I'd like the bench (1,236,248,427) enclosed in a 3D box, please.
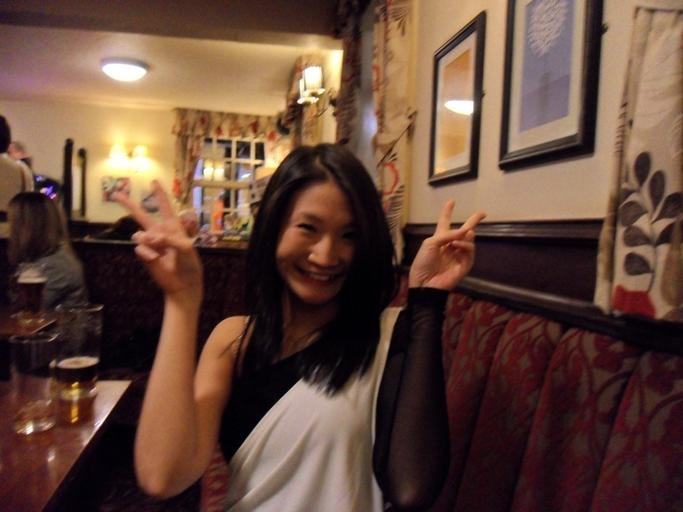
[{"bbox_3d":[-1.074,0.622,2.851,1.374,1.001,0.722,0,4,-7],"label":"bench"}]
